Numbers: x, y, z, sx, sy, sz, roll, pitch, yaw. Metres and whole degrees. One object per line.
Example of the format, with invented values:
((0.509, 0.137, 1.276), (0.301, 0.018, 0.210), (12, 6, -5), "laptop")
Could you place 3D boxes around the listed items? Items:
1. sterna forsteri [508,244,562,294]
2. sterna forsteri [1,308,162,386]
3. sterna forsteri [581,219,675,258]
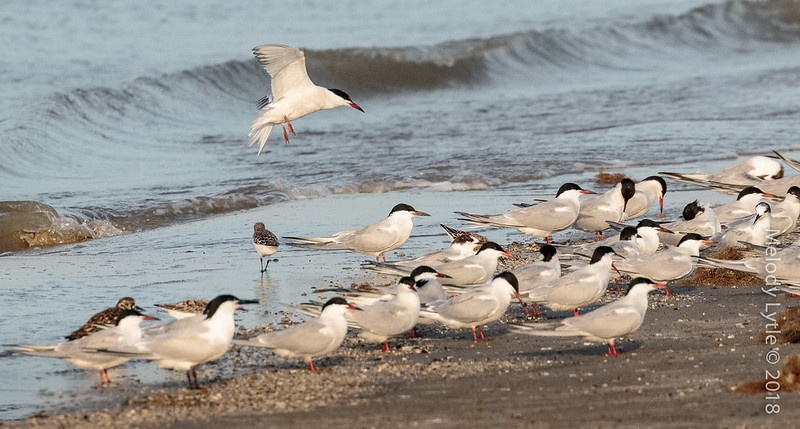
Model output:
((3.967, 1.606, 31.802), (1.006, 1.527, 2.415), (0, 1, -36), "sterna forsteri")
((-9.452, 3.603, 30.407), (5.712, 2.211, 1.426), (0, 3, -7), "sterna forsteri")
((6.693, 0.775, 33.027), (3.480, 1.158, 0.921), (5, -13, -13), "sterna forsteri")
